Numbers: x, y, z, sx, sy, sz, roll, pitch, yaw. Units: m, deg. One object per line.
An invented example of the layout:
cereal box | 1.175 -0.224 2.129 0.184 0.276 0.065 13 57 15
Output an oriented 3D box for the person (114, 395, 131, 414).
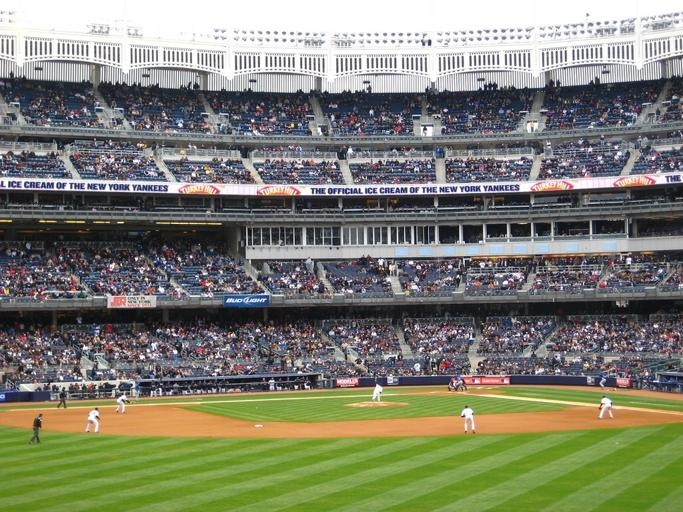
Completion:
person | -17.052 11.548 132.782 0.763 1.574 0.986 21 1 21

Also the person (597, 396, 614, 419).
person | 19.412 11.211 126.279 1.142 1.826 1.167 15 -20 -35
